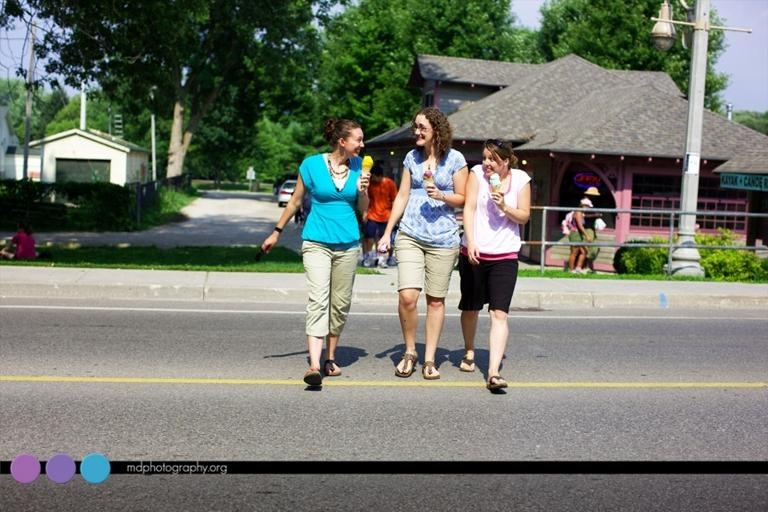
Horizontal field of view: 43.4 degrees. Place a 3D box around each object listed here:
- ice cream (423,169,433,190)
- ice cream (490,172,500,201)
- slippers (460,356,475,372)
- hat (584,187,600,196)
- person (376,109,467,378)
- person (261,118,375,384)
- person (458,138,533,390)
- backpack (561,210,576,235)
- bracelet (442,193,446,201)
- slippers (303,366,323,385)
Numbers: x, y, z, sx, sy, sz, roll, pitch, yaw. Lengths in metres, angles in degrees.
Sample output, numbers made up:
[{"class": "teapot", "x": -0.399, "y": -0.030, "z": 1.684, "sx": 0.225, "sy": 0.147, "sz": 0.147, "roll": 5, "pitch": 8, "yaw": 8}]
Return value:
[{"class": "ice cream", "x": 0.615, "y": -1.089, "z": 13.326, "sx": 0.128, "sy": 0.238, "sz": 0.378, "roll": 2, "pitch": 13, "yaw": 2}, {"class": "ice cream", "x": 1.525, "y": -0.997, "z": 13.306, "sx": 0.151, "sy": 0.292, "sz": 0.296, "roll": 2, "pitch": 13, "yaw": 4}, {"class": "slippers", "x": 1.216, "y": 1.582, "z": 14.136, "sx": 0.219, "sy": 0.131, "sz": 0.523, "roll": 0, "pitch": -1, "yaw": 3}, {"class": "hat", "x": 5.793, "y": -1.820, "z": 26.927, "sx": 0.382, "sy": 0.152, "sz": 0.359, "roll": 1, "pitch": 4, "yaw": 2}, {"class": "person", "x": 0.576, "y": -0.175, "z": 13.623, "sx": 1.078, "sy": 3.770, "sz": 0.758, "roll": 2, "pitch": 13, "yaw": 5}, {"class": "person", "x": -0.832, "y": -0.093, "z": 13.479, "sx": 1.045, "sy": 3.597, "sz": 1.207, "roll": 10, "pitch": 16, "yaw": 34}, {"class": "person", "x": 1.560, "y": 0.081, "z": 13.543, "sx": 0.864, "sy": 3.374, "sz": 1.109, "roll": -3, "pitch": 14, "yaw": -18}, {"class": "backpack", "x": 4.790, "y": -0.888, "z": 25.065, "sx": 0.469, "sy": 0.567, "sz": 0.270, "roll": 2, "pitch": -26, "yaw": -3}, {"class": "bracelet", "x": 0.821, "y": -0.830, "z": 13.404, "sx": 0.036, "sy": 0.100, "sz": 0.072, "roll": 13, "pitch": 18, "yaw": 42}, {"class": "slippers", "x": -0.980, "y": 1.646, "z": 13.254, "sx": 0.249, "sy": 0.295, "sz": 0.431, "roll": 1, "pitch": 13, "yaw": -2}]
